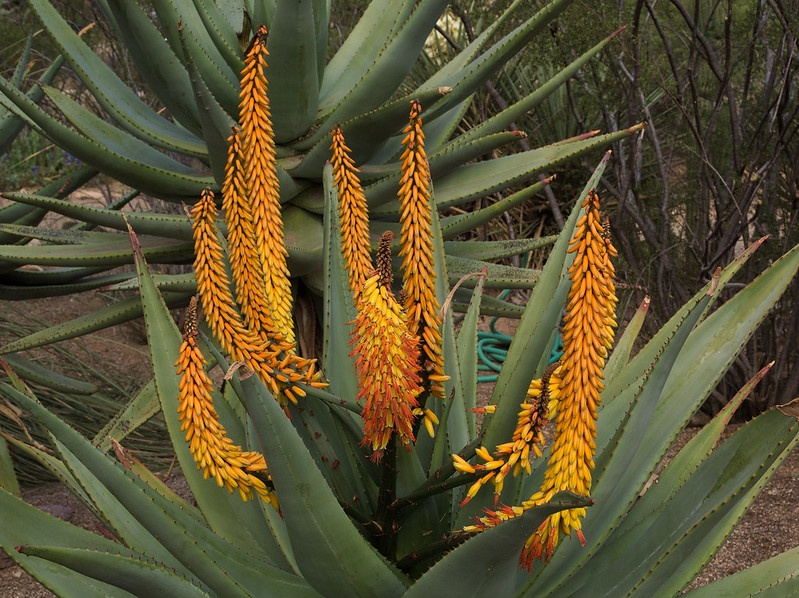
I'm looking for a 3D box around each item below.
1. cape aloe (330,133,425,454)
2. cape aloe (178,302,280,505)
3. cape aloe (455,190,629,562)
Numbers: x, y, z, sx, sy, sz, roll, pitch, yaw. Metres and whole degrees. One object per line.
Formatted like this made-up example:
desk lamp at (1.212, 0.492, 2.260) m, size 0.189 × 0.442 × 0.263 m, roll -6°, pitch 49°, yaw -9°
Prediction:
cape aloe at (-0.064, -0.001, 2.858) m, size 0.305 × 1.019 × 0.390 m, roll 5°, pitch 6°, yaw -17°
cape aloe at (-0.505, 0.315, 2.845) m, size 0.340 × 0.635 × 0.167 m, roll 6°, pitch 6°, yaw -7°
cape aloe at (0.433, 0.276, 2.788) m, size 0.355 × 1.211 × 0.451 m, roll 8°, pitch 6°, yaw 12°
